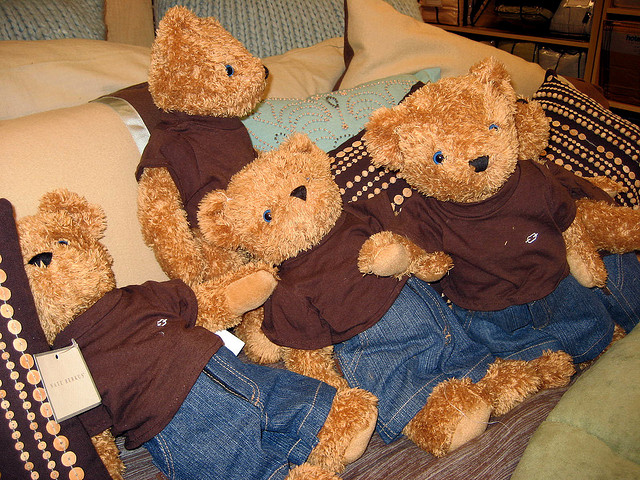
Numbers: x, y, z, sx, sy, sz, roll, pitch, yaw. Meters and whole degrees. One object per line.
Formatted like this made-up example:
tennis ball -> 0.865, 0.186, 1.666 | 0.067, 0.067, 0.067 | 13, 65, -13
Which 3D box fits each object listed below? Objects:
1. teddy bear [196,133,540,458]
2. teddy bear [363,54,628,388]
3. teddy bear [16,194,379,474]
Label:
teddy bear -> 0.053, 0.169, 1.477 | 0.587, 0.855, 0.356 | -40, -9, -13
teddy bear -> 0.409, -0.010, 1.315 | 0.545, 0.724, 0.452 | -41, 37, -20
teddy bear -> -0.265, 0.289, 1.287 | 0.720, 0.409, 0.546 | 27, 51, 12
